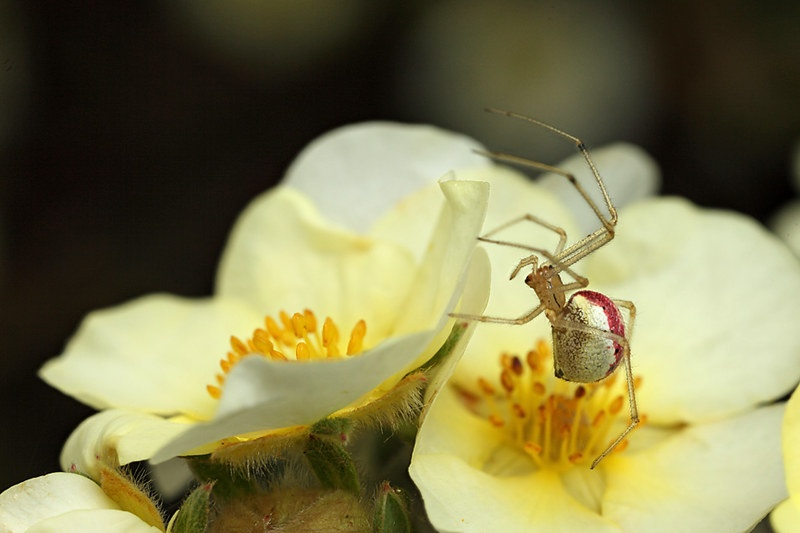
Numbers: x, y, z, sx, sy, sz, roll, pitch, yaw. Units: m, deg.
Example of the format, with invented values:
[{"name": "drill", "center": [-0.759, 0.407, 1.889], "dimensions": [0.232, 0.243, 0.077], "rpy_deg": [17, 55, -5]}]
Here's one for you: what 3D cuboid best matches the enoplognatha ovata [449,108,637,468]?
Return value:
[{"name": "enoplognatha ovata", "center": [0.163, 0.035, 0.825], "dimensions": [0.084, 0.375, 0.221], "rpy_deg": [3, -10, -39]}]
